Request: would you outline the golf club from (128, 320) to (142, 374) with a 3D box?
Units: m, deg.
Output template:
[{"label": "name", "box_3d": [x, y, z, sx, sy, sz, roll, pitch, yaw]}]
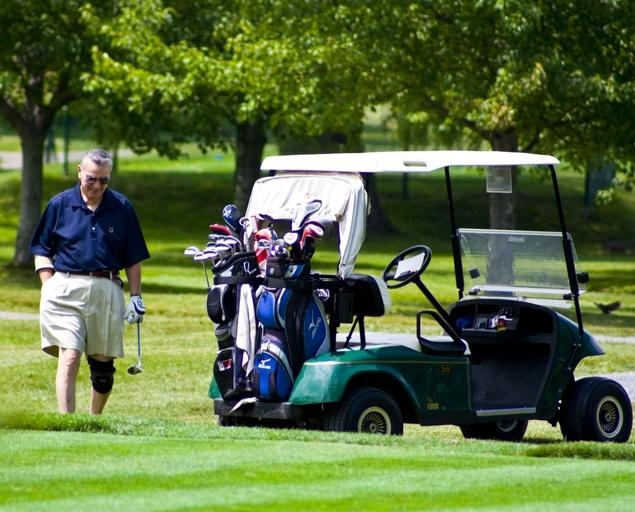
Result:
[{"label": "golf club", "box_3d": [-2.039, 1.035, 17.891, 0.206, 0.174, 0.724, 5, 31, -7]}]

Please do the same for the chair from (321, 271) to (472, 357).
[{"label": "chair", "box_3d": [0.625, 0.529, 15.326, 1.401, 0.936, 1.007, -8, 5, -31]}]

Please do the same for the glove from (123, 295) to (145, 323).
[{"label": "glove", "box_3d": [-1.706, 0.491, 15.042, 0.096, 0.258, 0.172, 19, -20, -35]}]

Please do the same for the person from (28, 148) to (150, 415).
[{"label": "person", "box_3d": [-2.128, 0.252, 14.922, 1.053, 2.519, 0.521, 0, 5, -12]}]

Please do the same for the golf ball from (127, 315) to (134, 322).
[{"label": "golf ball", "box_3d": [-1.735, 0.580, 14.943, 0.053, 0.056, 0.094, 13, -6, -43]}]

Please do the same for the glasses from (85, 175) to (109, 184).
[{"label": "glasses", "box_3d": [-2.027, -0.718, 14.877, 0.243, 0.081, 0.082, -3, 7, -38]}]
